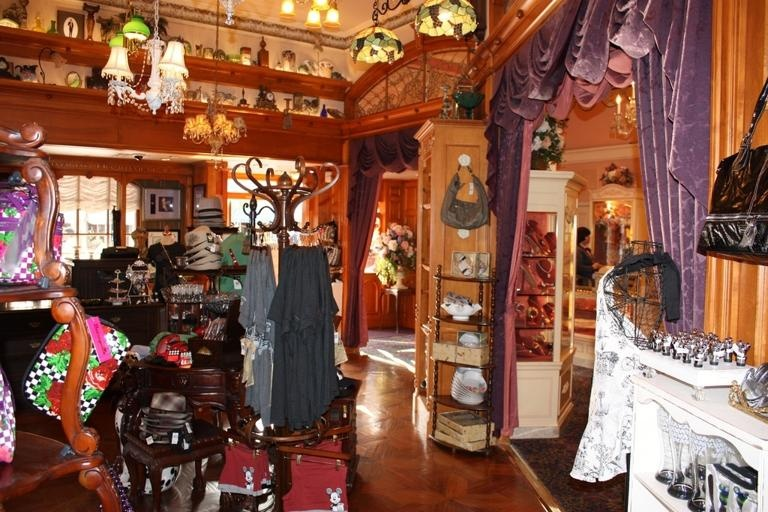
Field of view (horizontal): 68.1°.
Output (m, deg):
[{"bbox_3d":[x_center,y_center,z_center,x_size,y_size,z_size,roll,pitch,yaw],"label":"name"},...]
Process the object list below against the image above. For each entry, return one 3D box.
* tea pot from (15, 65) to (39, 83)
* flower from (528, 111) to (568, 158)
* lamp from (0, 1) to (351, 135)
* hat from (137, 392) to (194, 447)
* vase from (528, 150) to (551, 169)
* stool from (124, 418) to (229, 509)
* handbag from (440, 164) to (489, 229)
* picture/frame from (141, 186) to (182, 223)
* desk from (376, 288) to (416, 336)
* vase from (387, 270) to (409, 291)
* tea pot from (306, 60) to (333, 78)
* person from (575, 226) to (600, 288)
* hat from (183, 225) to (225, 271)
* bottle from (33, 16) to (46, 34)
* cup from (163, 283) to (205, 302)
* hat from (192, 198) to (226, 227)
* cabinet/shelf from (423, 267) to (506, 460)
[{"bbox_3d":[-4.599,-2.378,7.335,0.255,0.218,0.094,-4,7,-35],"label":"tea pot"},{"bbox_3d":[1.806,-1.250,5.936,0.427,0.450,0.224,15,-10,-23],"label":"flower"},{"bbox_3d":[-2.750,-2.722,8.207,4.680,1.592,0.374,-3,6,-28],"label":"lamp"},{"bbox_3d":[-1.716,1.270,4.611,0.435,0.349,0.353,3,2,33],"label":"hat"},{"bbox_3d":[1.637,-1.015,6.016,0.205,0.159,0.195,1,3,2],"label":"vase"},{"bbox_3d":[-1.707,1.563,4.745,0.624,0.705,0.815,-4,-5,40],"label":"stool"},{"bbox_3d":[0.870,-0.607,6.128,0.477,0.664,0.189,-1,-5,-6],"label":"handbag"},{"bbox_3d":[-3.852,-0.914,9.771,0.600,0.543,0.065,-3,5,-27],"label":"picture/frame"},{"bbox_3d":[0.245,1.105,11.453,0.749,0.948,0.944,6,-6,-40],"label":"desk"},{"bbox_3d":[0.270,0.428,10.914,0.356,0.406,0.380,-1,4,-7],"label":"vase"},{"bbox_3d":[-1.063,-3.019,9.154,0.353,0.210,0.477,0,-1,-9],"label":"tea pot"},{"bbox_3d":[3.247,0.039,9.017,0.536,0.966,0.483,4,11,18],"label":"person"},{"bbox_3d":[-1.528,-0.075,4.812,0.292,0.347,0.345,-2,6,-19],"label":"hat"},{"bbox_3d":[-4.484,-3.015,7.381,0.135,0.214,0.204,-3,6,-30],"label":"bottle"},{"bbox_3d":[-1.647,0.298,4.679,0.309,0.135,0.242,-2,6,-19],"label":"cup"},{"bbox_3d":[-1.852,-0.459,5.879,0.417,0.277,0.386,2,8,18],"label":"hat"},{"bbox_3d":[0.808,1.010,5.842,0.669,1.768,0.788,1,5,4],"label":"cabinet/shelf"}]
